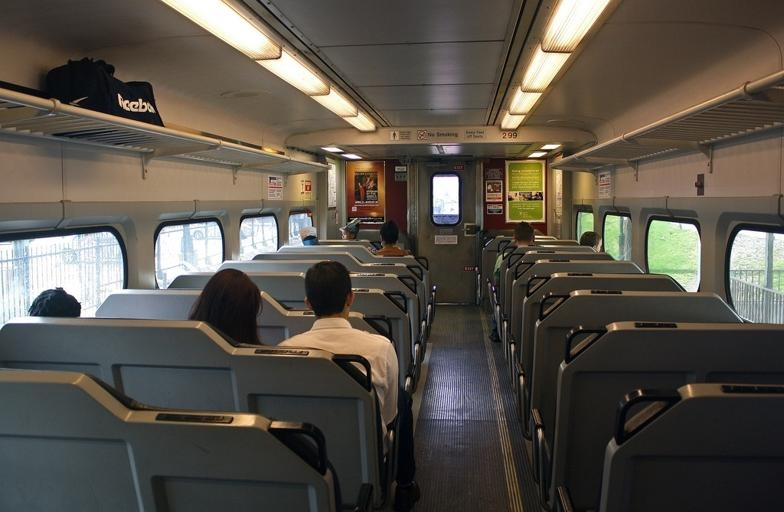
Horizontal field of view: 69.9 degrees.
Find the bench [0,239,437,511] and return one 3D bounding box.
[{"bbox_3d":[-1.130,0.705,3.915,2.114,0.869,1.618,1,1,5],"label":"bench"}]

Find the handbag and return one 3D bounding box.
[{"bbox_3d":[-2.336,-1.263,4.667,0.462,0.348,0.807,2,-2,14],"label":"handbag"}]
